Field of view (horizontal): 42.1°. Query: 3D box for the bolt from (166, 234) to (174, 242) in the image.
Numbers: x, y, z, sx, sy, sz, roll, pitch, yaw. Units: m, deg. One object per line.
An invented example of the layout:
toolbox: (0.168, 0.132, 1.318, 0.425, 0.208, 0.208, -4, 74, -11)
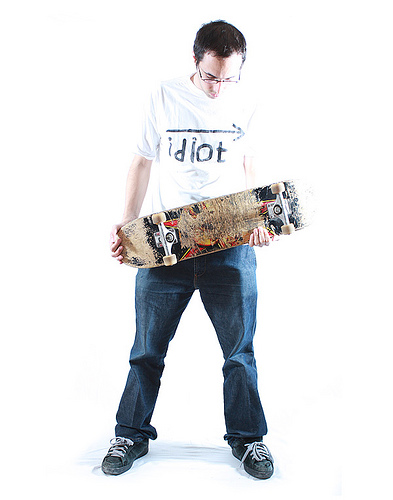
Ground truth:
bolt: (-0.144, -0.072, 2.745, 0.048, 0.040, 0.012, 1, 2, 2)

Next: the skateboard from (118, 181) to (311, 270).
skateboard: (0.063, -0.082, 2.757, 1.516, 0.330, 0.207, -9, 10, -40)

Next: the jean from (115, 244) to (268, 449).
jean: (-0.033, 0.528, 2.896, 0.832, 1.036, 0.699, 0, -28, 10)

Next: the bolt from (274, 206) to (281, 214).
bolt: (0.431, -0.219, 2.721, 0.048, 0.041, 0.010, 3, 2, 4)
